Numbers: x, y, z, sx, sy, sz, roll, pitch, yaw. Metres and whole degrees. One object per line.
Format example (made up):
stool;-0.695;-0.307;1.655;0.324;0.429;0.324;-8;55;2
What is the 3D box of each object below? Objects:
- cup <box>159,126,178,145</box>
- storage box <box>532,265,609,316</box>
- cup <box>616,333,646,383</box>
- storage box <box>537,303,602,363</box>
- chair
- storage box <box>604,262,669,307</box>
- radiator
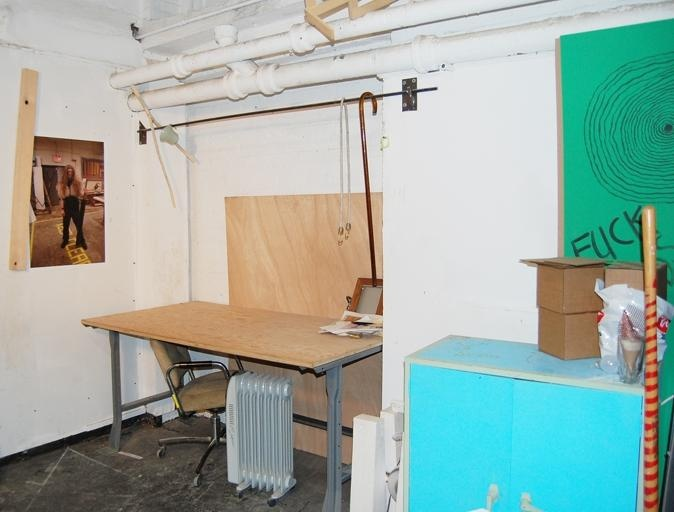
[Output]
cup;-1.300;-0.926;4.159;0.125;0.128;0.178;-5;10;-24
storage box;1.091;0.137;2.544;0.220;0.232;0.219;-2;8;-39
cup;1.242;0.433;2.281;0.099;0.196;0.063;3;10;20
storage box;1.081;0.349;2.505;0.222;0.232;0.230;2;0;25
chair;-1.118;1.062;4.241;0.851;1.274;0.913;-2;0;1
storage box;1.345;0.111;2.434;0.205;0.161;0.206;-1;2;-42
radiator;-0.489;1.180;3.527;0.478;0.749;0.291;3;2;18
